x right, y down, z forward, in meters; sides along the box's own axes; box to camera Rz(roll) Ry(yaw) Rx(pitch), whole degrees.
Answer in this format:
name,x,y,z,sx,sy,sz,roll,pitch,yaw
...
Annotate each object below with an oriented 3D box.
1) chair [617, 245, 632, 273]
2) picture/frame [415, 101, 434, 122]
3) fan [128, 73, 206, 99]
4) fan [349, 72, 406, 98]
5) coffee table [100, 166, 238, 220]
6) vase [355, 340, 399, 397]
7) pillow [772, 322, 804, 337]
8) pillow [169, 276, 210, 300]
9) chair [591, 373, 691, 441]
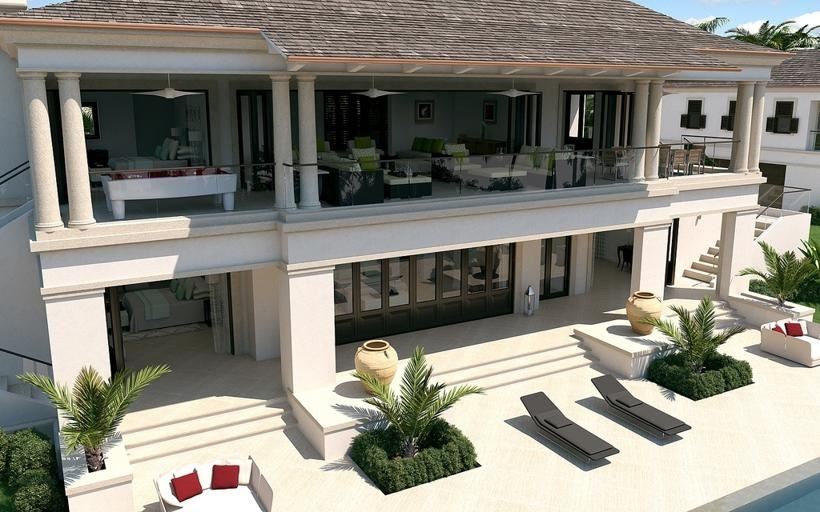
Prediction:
name,x,y,z,sx,sy,sz,roll,pitch,yaw
chair,10.388,0.031,28.554,0.569,1.045,0.953,2,19,13
picture/frame,0.495,-6.009,24.149,0.983,0.814,0.093,-6,13,-31
fan,-7.649,-5.418,18.477,1.431,0.504,1.380,-4,8,-31
fan,-1.000,-6.024,19.648,1.484,0.527,1.457,-5,11,-24
coffee table,-7.117,-2.067,17.073,3.881,1.131,1.667,-5,14,-26
vase,-1.025,3.348,17.345,1.165,1.315,0.746,-5,19,-8
pillow,13.656,2.680,21.107,0.784,0.206,0.670,1,22,15
pillow,-8.439,1.289,22.445,1.813,0.857,0.573,1,-14,37
chair,6.687,4.511,17.354,1.157,0.867,3.117,-10,18,-29
